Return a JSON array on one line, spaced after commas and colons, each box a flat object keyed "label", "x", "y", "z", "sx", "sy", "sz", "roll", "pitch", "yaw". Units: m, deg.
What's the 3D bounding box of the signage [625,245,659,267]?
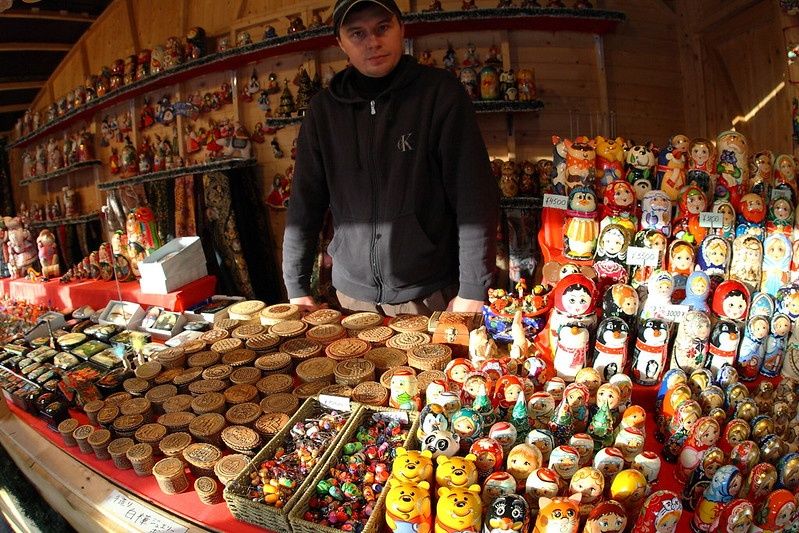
[{"label": "signage", "x": 1.135, "y": -0.048, "z": 2.650, "sx": 0.100, "sy": 0.072, "sz": 0.011, "roll": 5, "pitch": 23, "yaw": 19}]

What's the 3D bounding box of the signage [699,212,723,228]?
[{"label": "signage", "x": 1.500, "y": -0.223, "z": 2.743, "sx": 0.076, "sy": 0.055, "sz": 0.010, "roll": 0, "pitch": 3, "yaw": -2}]

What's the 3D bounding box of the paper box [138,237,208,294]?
[{"label": "paper box", "x": -1.528, "y": 0.014, "z": 3.963, "sx": 0.328, "sy": 0.289, "sz": 0.450, "roll": 19, "pitch": 39, "yaw": 37}]
